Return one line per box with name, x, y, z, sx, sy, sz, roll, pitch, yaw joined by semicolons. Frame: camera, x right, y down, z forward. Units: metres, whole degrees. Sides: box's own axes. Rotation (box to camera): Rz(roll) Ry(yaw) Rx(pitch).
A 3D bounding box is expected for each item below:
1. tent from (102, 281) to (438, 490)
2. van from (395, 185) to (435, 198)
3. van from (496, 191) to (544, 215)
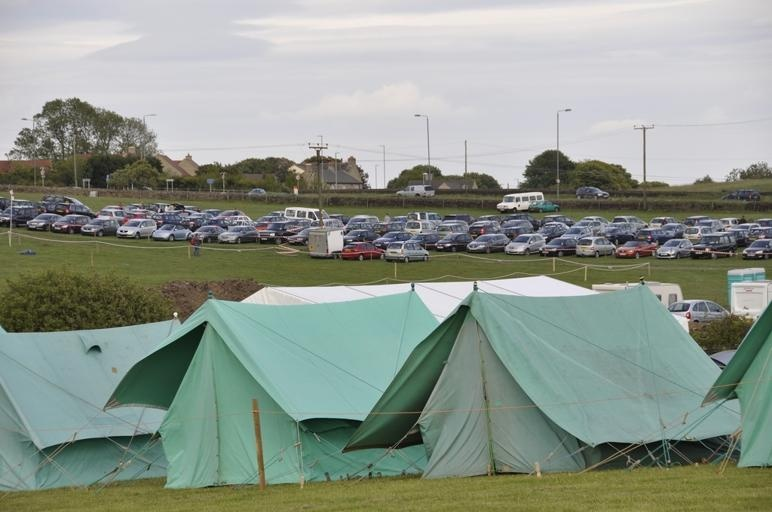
tent;-4.248;6.453;82.540;11.324;5.344;9.414;-1;4;-30
van;2.404;-5.729;158.679;2.827;1.016;1.362;5;4;26
van;10.323;-4.253;142.939;3.508;1.520;1.795;-2;2;-9
